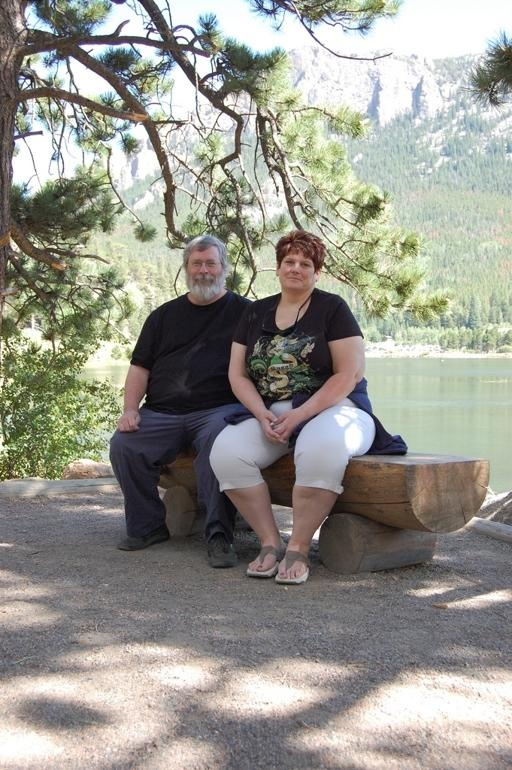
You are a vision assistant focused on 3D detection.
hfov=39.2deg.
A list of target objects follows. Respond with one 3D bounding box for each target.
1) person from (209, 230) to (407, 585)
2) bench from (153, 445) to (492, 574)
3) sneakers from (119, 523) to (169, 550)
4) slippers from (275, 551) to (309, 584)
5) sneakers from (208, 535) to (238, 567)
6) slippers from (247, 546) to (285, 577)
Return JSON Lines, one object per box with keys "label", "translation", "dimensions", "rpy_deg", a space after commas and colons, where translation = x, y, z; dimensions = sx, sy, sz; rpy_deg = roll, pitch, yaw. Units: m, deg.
{"label": "person", "translation": [0.240, 0.066, 3.135], "dimensions": [0.922, 1.371, 0.801], "rpy_deg": [-4, 4, 12]}
{"label": "bench", "translation": [0.234, 0.531, 3.329], "dimensions": [0.596, 0.497, 1.570], "rpy_deg": [3, -1, -45]}
{"label": "sneakers", "translation": [-0.532, 0.725, 3.402], "dimensions": [0.078, 0.080, 0.233], "rpy_deg": [1, -2, 40]}
{"label": "slippers", "translation": [0.143, 0.706, 2.808], "dimensions": [0.119, 0.127, 0.174], "rpy_deg": [3, 0, 8]}
{"label": "sneakers", "translation": [-0.136, 0.713, 3.035], "dimensions": [0.071, 0.061, 0.168], "rpy_deg": [-3, -2, -15]}
{"label": "slippers", "translation": [0.034, 0.709, 2.857], "dimensions": [0.076, 0.067, 0.186], "rpy_deg": [-2, -4, 19]}
